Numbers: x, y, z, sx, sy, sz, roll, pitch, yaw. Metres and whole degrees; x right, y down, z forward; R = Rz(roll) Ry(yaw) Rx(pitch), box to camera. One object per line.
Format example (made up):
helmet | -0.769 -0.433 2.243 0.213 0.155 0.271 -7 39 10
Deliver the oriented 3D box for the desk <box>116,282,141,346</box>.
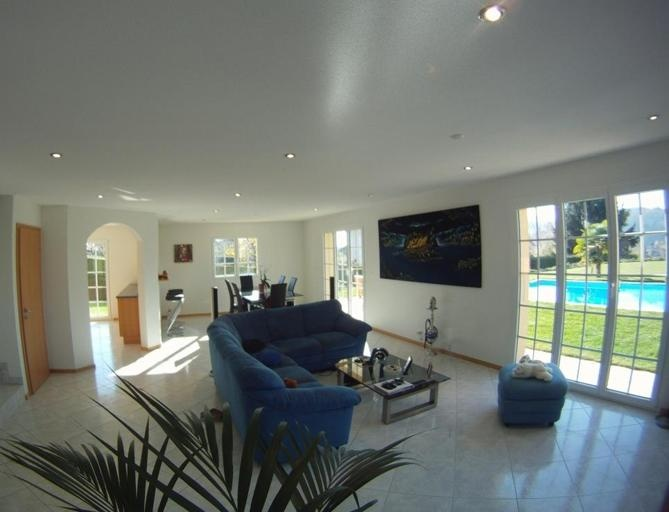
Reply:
desk | -3.712 1.077 8.262 0.281 0.592 1.083 0 1 -19

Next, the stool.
stool | 2.074 1.480 4.960 0.672 0.506 0.692 0 9 23

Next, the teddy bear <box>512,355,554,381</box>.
teddy bear | 2.088 1.184 4.875 0.277 0.136 0.210 1 5 19

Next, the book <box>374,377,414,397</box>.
book | 0.637 1.427 5.043 0.427 0.032 0.334 -10 14 -33

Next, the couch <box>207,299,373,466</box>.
couch | -0.620 1.232 4.953 1.433 0.540 1.451 -2 6 -35
